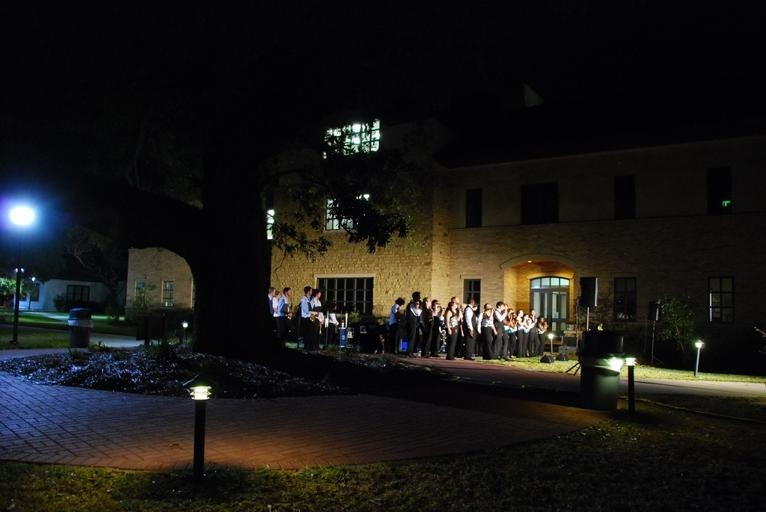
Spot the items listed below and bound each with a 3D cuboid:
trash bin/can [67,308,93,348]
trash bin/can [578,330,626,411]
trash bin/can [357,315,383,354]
[{"bbox_3d":[-9.372,2.242,17.784,0.625,1.207,0.810,6,-8,-28],"label":"trash bin/can"},{"bbox_3d":[4.223,2.202,11.069,0.809,1.533,0.511,0,-7,14],"label":"trash bin/can"},{"bbox_3d":[-0.455,3.341,23.073,0.943,1.792,0.996,-9,-40,12],"label":"trash bin/can"}]
